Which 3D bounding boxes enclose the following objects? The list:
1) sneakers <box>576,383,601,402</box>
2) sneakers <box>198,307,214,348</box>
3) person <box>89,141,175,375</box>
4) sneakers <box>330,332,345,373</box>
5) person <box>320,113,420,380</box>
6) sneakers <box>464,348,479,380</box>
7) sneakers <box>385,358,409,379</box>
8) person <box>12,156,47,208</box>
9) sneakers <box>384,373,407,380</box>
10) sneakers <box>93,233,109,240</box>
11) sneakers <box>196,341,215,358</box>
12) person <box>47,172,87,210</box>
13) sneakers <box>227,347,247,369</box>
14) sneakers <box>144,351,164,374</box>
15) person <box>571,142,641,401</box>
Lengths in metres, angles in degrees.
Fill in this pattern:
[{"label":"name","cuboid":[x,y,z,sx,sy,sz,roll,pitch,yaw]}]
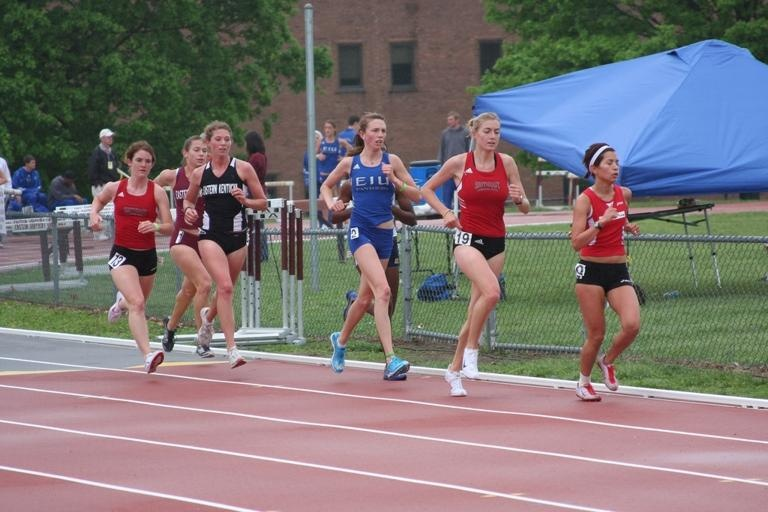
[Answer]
[{"label":"sneakers","cuboid":[2.195,1.485,10.925,0.156,0.124,0.270,0,-1,-35]},{"label":"sneakers","cuboid":[-2.205,0.907,12.624,0.229,0.495,0.181,10,12,35]},{"label":"person","cuboid":[-2.939,-0.003,12.107,0.796,2.679,1.323,-7,11,-31]},{"label":"sneakers","cuboid":[-0.526,1.145,11.883,0.178,0.462,0.208,-4,-3,-44]},{"label":"person","cuboid":[-0.118,-0.083,11.641,1.002,3.075,1.353,-6,11,-27]},{"label":"sneakers","cuboid":[0.948,1.205,11.140,0.182,0.356,0.137,-1,10,3]},{"label":"sneakers","cuboid":[0.141,1.278,11.278,0.153,0.168,0.352,9,-27,-45]},{"label":"person","cuboid":[-8.896,-1.693,25.536,0.962,1.557,0.833,8,8,39]},{"label":"sneakers","cuboid":[0.119,1.374,11.308,0.247,0.100,0.087,1,-1,12]},{"label":"sneakers","cuboid":[-4.658,-0.298,16.580,0.195,0.071,0.154,-7,-7,40]},{"label":"sneakers","cuboid":[-2.229,1.201,12.634,0.122,0.096,0.260,1,0,-33]},{"label":"person","cuboid":[-8.096,-1.502,25.696,1.026,1.228,0.763,9,15,23]},{"label":"sneakers","cuboid":[-1.741,1.229,11.892,0.163,0.272,0.339,-4,10,-13]},{"label":"sneakers","cuboid":[-2.661,1.235,11.733,0.176,0.126,0.360,-9,-5,0]},{"label":"person","cuboid":[2.358,0.208,10.726,0.692,2.733,0.548,1,10,15]}]
